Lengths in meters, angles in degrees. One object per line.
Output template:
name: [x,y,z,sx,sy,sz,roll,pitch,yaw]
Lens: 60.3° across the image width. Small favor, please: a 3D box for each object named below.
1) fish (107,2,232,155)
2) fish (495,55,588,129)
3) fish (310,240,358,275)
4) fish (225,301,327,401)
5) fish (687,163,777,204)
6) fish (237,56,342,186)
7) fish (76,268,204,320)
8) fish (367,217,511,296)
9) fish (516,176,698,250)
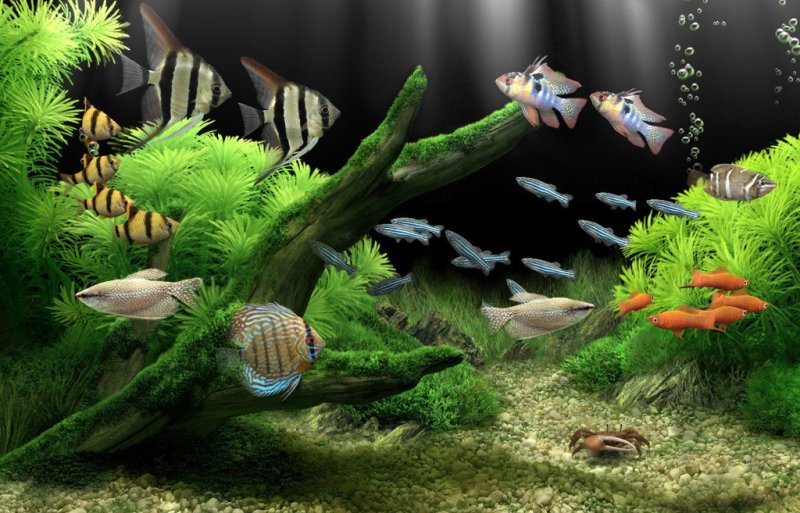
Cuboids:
fish: [-1.885,-1.533,5.617,0.921,0.951,0.374,9,15,22]
fish: [1.232,-1.420,6.056,0.764,0.540,0.275,5,14,5]
fish: [-0.679,0.015,6.800,0.449,0.093,0.180,32,16,9]
fish: [-1.007,0.751,5.597,0.761,0.702,0.244,2,14,-4]
fish: [3.191,-0.730,6.725,0.570,0.348,0.733,4,15,1]
fish: [-0.920,-1.122,5.730,0.827,0.976,0.293,2,14,-4]
fish: [-2.223,0.345,5.878,0.989,0.321,0.155,1,14,-9]
fish: [0.356,0.060,6.545,1.225,0.753,0.600,7,15,12]
fish: [1.949,-0.562,7.864,1.977,0.865,2.154,1,15,-11]
